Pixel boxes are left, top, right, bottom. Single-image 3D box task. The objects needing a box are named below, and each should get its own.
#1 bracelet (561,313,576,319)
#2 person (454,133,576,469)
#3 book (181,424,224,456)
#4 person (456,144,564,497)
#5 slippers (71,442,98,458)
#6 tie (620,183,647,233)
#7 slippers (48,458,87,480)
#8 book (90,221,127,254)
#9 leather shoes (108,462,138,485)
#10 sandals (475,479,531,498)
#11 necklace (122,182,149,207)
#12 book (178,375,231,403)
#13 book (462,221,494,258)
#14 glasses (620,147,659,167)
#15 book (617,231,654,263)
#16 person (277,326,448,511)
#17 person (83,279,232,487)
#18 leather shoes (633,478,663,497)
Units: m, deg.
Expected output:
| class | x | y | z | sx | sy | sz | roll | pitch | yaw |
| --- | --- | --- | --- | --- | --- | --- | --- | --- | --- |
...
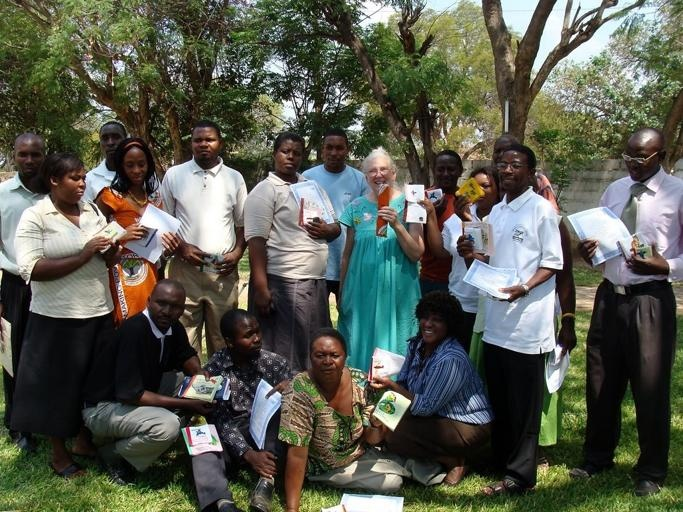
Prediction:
| class | x | y | z | sx | sy | sz | roll | pitch | yaw |
| --- | --- | --- | --- | --- | --- | --- | --- | --- | --- |
| bracelet | 1.971 | 0.528 | 4.614 | 0.062 | 0.029 | 0.072 | 2 | 3 | -10 |
| person | 1.520 | 0.517 | 4.843 | 1.053 | 3.040 | 1.026 | 7 | 15 | 40 |
| book | -1.108 | 1.448 | 4.224 | 0.247 | 0.244 | 0.058 | 2 | -45 | -29 |
| person | 1.465 | 0.504 | 4.434 | 0.739 | 2.856 | 0.532 | -1 | -4 | 25 |
| slippers | -2.325 | 1.759 | 4.788 | 0.243 | 0.099 | 0.119 | 2 | -2 | 3 |
| tie | 2.500 | -0.431 | 4.444 | 0.151 | 0.661 | 0.095 | 8 | -39 | 18 |
| slippers | -2.334 | 1.797 | 4.446 | 0.349 | 0.099 | 0.183 | 0 | -4 | 1 |
| book | -2.001 | -0.167 | 4.539 | 0.262 | 0.266 | 0.063 | 39 | -16 | 16 |
| leather shoes | -1.842 | 1.804 | 4.418 | 0.234 | 0.162 | 0.223 | 2 | -4 | -23 |
| sandals | 1.311 | 1.881 | 4.292 | 0.416 | 0.165 | 0.151 | 3 | -4 | -2 |
| necklace | -2.002 | -0.585 | 5.145 | 0.185 | 0.247 | 0.087 | 0 | -17 | -41 |
| book | -1.167 | 1.106 | 4.418 | 0.289 | 0.095 | 0.289 | 2 | 11 | 9 |
| book | 1.190 | -0.154 | 4.563 | 0.266 | 0.274 | 0.096 | 11 | 24 | 43 |
| glasses | 2.535 | -0.811 | 4.427 | 0.280 | 0.164 | 0.171 | -2 | -5 | 31 |
| book | 2.401 | -0.073 | 4.298 | 0.268 | 0.208 | 0.067 | 0 | -3 | 4 |
| person | 0.189 | 1.420 | 4.387 | 1.287 | 1.045 | 0.745 | -6 | 6 | -41 |
| person | -1.683 | 1.043 | 4.513 | 0.952 | 1.683 | 0.628 | 2 | -4 | -24 |
| leather shoes | 2.460 | 1.855 | 4.219 | 0.196 | 0.100 | 0.160 | -2 | -5 | 26 |
